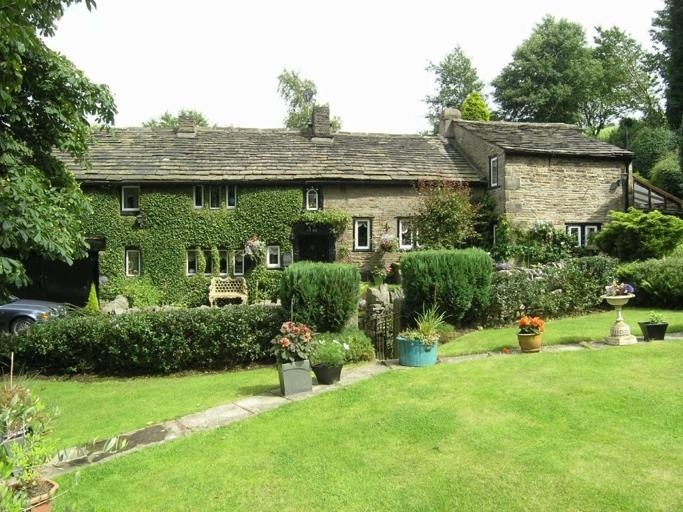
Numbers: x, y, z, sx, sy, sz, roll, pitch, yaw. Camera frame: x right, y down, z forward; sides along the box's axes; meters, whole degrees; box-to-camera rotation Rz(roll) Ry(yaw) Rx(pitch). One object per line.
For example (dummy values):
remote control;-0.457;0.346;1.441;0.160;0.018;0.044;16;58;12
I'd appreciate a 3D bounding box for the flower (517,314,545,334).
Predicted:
flower;4.754;1.725;15.305;0.554;0.396;0.590;2;8;-5

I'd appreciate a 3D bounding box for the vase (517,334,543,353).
vase;4.716;2.153;15.192;0.452;0.367;0.483;0;-6;-4

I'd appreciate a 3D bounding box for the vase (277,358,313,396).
vase;-1.107;2.732;13.910;0.719;0.773;0.738;-1;-6;-27

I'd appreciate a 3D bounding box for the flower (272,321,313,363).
flower;-1.168;1.964;13.992;0.842;0.832;0.880;-4;12;-18

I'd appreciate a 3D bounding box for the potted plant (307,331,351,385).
potted plant;-0.204;2.460;14.554;1.113;1.223;0.821;2;-3;-45

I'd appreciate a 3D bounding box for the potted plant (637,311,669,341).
potted plant;8.131;1.770;15.491;0.680;0.786;0.673;-1;-5;-2

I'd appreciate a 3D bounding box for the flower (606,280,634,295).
flower;7.468;0.895;16.083;0.517;0.417;0.742;-4;-6;26
